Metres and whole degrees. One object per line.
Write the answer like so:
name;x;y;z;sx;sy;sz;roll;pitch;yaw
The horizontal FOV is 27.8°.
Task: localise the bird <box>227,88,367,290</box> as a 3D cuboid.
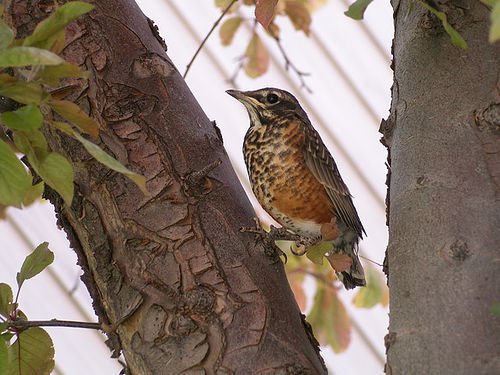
bird;0.199;-0.074;4.225;0.306;0.944;0.533;-30;-31;28
